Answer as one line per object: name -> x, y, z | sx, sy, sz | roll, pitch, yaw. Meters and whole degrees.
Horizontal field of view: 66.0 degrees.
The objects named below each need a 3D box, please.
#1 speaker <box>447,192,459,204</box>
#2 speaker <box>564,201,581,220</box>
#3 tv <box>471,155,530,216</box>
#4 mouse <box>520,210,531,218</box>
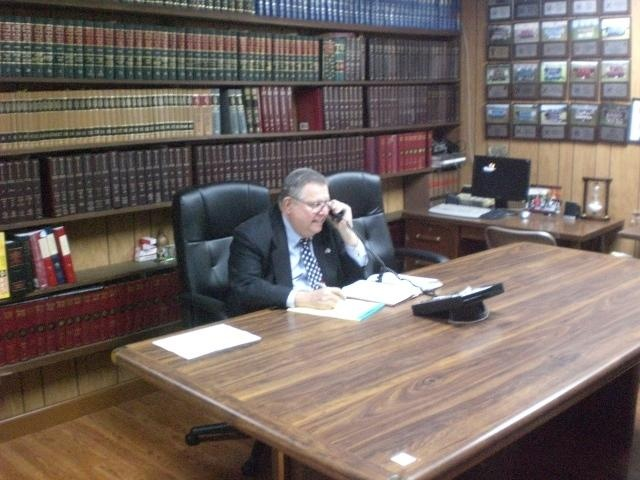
speaker -> 1.239, -0.381, 4.571 | 0.151, 0.121, 0.081 | 3, 2, 14
speaker -> 2.102, -0.252, 4.060 | 0.126, 0.127, 0.153 | 8, 16, 33
tv -> 1.560, -0.494, 4.322 | 0.544, 0.428, 0.160 | 3, -3, -7
mouse -> 1.727, -0.215, 4.113 | 0.079, 0.064, 0.062 | 11, -19, -31
